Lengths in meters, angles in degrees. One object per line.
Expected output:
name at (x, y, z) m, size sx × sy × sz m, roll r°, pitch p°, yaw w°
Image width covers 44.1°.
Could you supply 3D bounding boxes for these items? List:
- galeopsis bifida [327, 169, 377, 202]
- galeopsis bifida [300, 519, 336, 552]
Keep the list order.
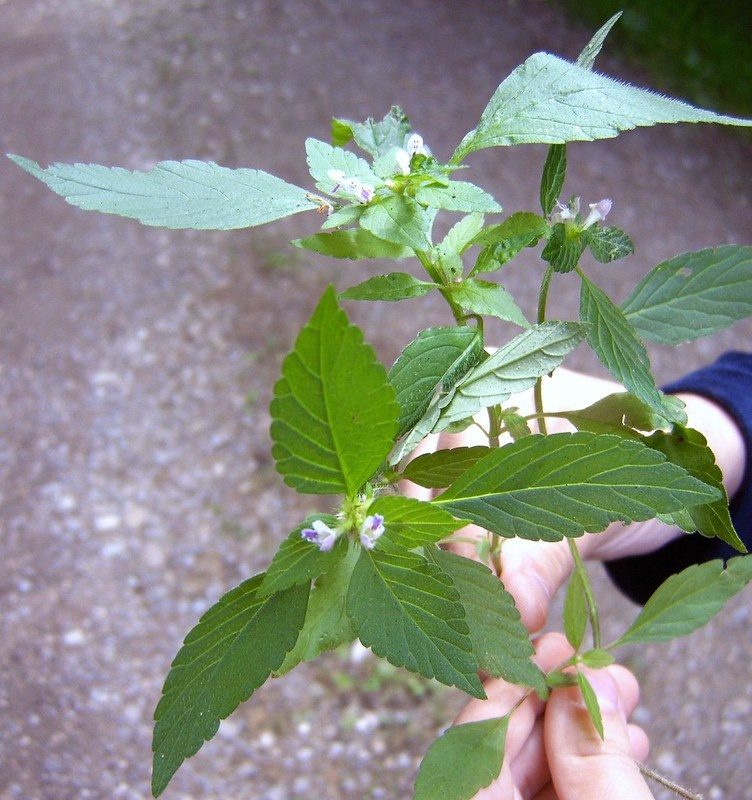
galeopsis bifida at (-0.024, -0.213, 0.923) m, size 0.050 × 0.026 × 0.015 m, roll 33°, pitch 13°, yaw 30°
galeopsis bifida at (-0.055, 0.133, 0.917) m, size 0.032 × 0.031 × 0.031 m, roll 25°, pitch 59°, yaw 8°
